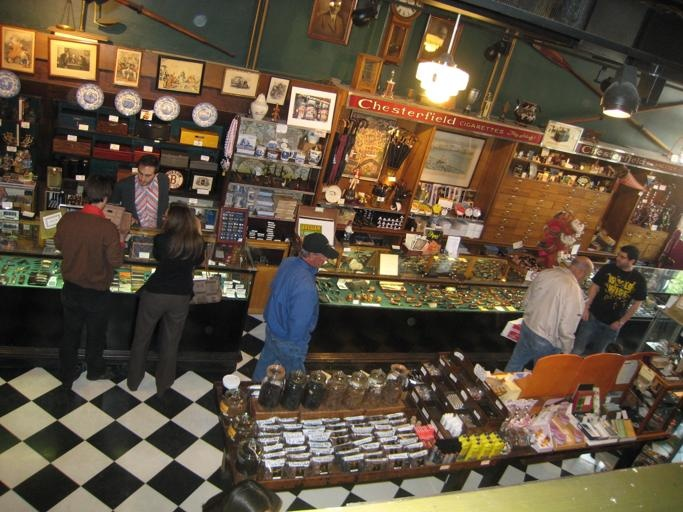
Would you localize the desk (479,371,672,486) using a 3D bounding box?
[{"bbox_3d":[2.096,1.599,4.761,1.801,0.973,0.709,3,19,-22],"label":"desk"}]

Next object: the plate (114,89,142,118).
[{"bbox_3d":[-2.752,-1.980,6.337,0.328,0.329,0.171,-1,22,-34],"label":"plate"}]

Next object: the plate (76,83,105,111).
[{"bbox_3d":[-3.192,-2.006,6.207,0.316,0.337,0.202,3,20,-26],"label":"plate"}]

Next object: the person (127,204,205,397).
[{"bbox_3d":[-1.744,0.485,4.835,0.590,2.120,0.397,8,18,-17],"label":"person"}]

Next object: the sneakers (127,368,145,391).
[{"bbox_3d":[-2.167,1.299,5.139,0.167,0.240,0.200,6,27,-17],"label":"sneakers"}]

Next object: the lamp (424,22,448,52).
[{"bbox_3d":[1.404,-3.253,7.381,0.434,0.333,0.095,-8,38,-24],"label":"lamp"}]

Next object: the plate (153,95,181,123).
[{"bbox_3d":[-2.325,-1.946,6.513,0.323,0.348,0.193,6,18,-18],"label":"plate"}]

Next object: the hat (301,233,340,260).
[{"bbox_3d":[-0.198,-0.085,4.315,0.330,0.142,0.189,8,29,-16],"label":"hat"}]

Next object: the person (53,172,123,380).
[{"bbox_3d":[-2.457,0.330,4.705,0.562,2.245,0.338,3,20,-28],"label":"person"}]

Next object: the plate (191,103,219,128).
[{"bbox_3d":[-1.837,-1.902,6.619,0.345,0.323,0.178,2,20,-28],"label":"plate"}]

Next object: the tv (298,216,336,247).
[{"bbox_3d":[-0.346,-0.399,6.826,0.678,0.342,0.425,0,7,-9],"label":"tv"}]

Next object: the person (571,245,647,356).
[{"bbox_3d":[3.532,0.775,6.483,0.730,1.743,0.522,21,23,23],"label":"person"}]

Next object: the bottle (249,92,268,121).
[{"bbox_3d":[-1.086,-1.936,6.411,0.213,0.322,0.262,8,17,-12],"label":"bottle"}]

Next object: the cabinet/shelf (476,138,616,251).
[{"bbox_3d":[3.309,-1.065,8.117,2.417,1.758,0.741,1,38,-17],"label":"cabinet/shelf"}]

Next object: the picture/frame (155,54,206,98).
[{"bbox_3d":[-2.117,-2.321,6.351,0.779,0.521,0.056,1,28,-21],"label":"picture/frame"}]

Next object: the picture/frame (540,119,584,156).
[{"bbox_3d":[3.496,-1.846,7.781,0.978,0.575,0.118,-1,37,-20],"label":"picture/frame"}]

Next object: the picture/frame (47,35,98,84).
[{"bbox_3d":[-3.302,-2.415,5.971,0.756,0.524,0.066,0,20,-22],"label":"picture/frame"}]
